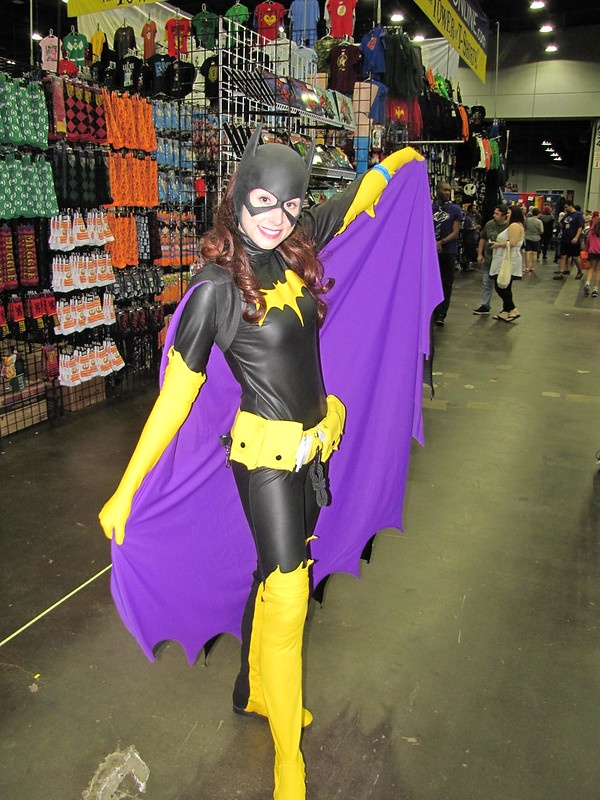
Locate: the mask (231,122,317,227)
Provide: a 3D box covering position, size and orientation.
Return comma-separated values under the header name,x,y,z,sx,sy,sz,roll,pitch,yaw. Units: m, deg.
name,x,y,z,sx,sy,sz,roll,pitch,yaw
mask,-0.069,-0.447,1.245,0.143,0.198,0.203,8,52,-9
